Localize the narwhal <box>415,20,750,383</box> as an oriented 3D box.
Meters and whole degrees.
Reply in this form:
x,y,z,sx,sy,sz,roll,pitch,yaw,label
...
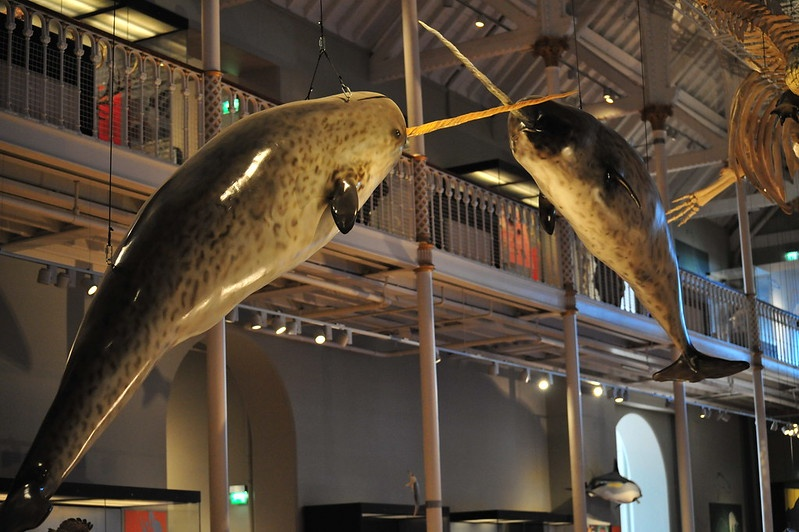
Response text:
x,y,z,sx,sy,sz,roll,pitch,yaw,label
2.038,-0.682,15.841,1.200,1.160,4.668,-8,-58,50,narwhal

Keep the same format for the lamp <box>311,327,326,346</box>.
x,y,z,sx,sy,sz,roll,pitch,yaw,label
-1.209,1.052,23.743,0.279,0.296,0.237,-1,-5,26,lamp
